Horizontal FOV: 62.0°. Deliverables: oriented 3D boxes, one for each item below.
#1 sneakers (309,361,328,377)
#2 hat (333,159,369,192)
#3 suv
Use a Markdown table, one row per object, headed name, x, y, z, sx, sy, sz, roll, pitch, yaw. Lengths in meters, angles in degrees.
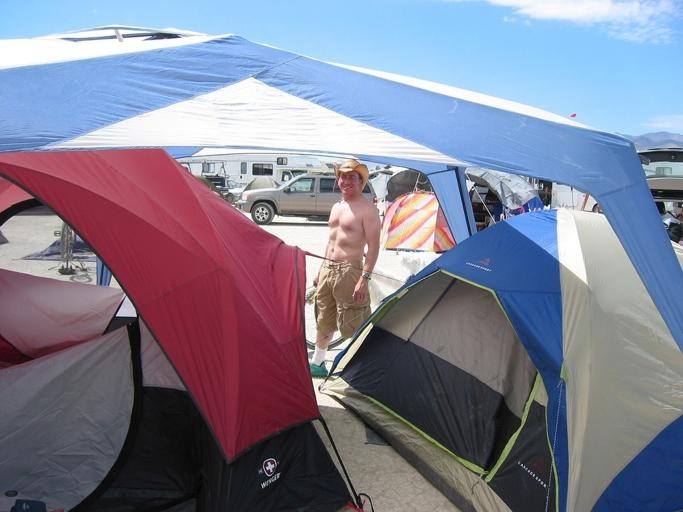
| name | x | y | z | sx | sy | sz | roll | pitch | yaw |
| --- | --- | --- | --- | --- | --- | --- | --- | --- | --- |
| sneakers | -0.190 | 0.983 | 5.011 | 0.185 | 0.155 | 0.184 | 2 | -4 | 6 |
| hat | 0.115 | -0.694 | 4.678 | 0.247 | 0.130 | 0.288 | 21 | -19 | 13 |
| suv | -0.989 | -1.602 | 16.302 | 3.581 | 1.499 | 1.586 | 2 | 6 | -5 |
